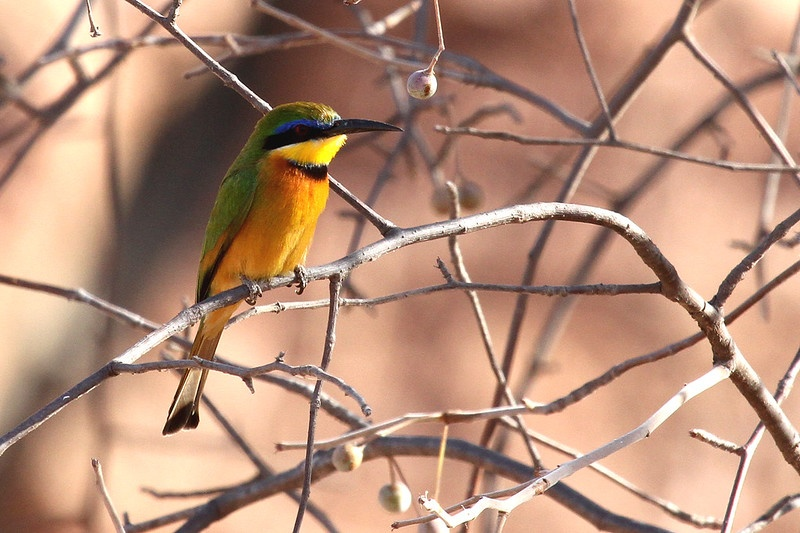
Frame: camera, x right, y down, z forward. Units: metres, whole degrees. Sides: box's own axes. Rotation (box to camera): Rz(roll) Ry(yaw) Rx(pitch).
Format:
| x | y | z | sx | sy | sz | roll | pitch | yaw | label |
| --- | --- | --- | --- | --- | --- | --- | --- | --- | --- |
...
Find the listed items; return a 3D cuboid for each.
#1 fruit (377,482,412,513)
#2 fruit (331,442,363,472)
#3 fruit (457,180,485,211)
| x | y | z | sx | sy | sz | roll | pitch | yaw | label |
| --- | --- | --- | --- | --- | --- | --- | --- | --- | --- |
| -0.018 | 1.076 | 4.014 | 0.138 | 0.169 | 0.137 | -12 | -16 | -12 | fruit |
| -0.224 | 0.850 | 3.815 | 0.141 | 0.114 | 0.084 | -40 | 7 | 9 | fruit |
| 0.450 | -0.446 | 5.369 | 0.159 | 0.174 | 0.204 | -2 | 2 | -1 | fruit |
